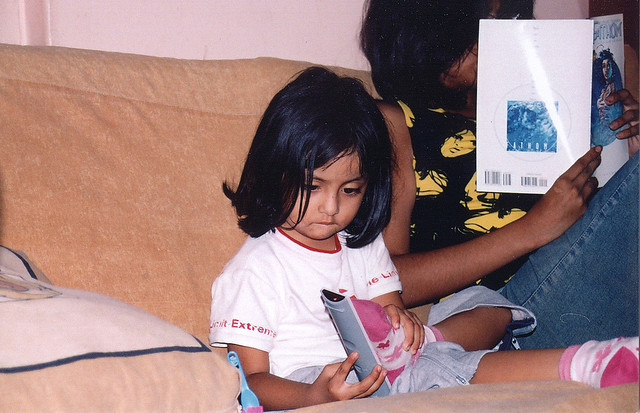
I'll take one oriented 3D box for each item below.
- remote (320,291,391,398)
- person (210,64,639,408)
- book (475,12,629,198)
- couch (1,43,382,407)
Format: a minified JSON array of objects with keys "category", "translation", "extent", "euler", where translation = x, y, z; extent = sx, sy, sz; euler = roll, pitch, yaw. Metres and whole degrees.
[{"category":"remote","translation":[0.065,0.271,1.473],"extent":[0.111,0.195,0.047],"euler":[-2,5,12]},{"category":"person","translation":[0.177,0.022,1.722],"extent":[1.025,0.724,0.601],"euler":[0,10,18]},{"category":"book","translation":[0.538,-0.238,1.798],"extent":[0.496,0.421,0.104],"euler":[-2,4,-5]},{"category":"couch","translation":[-0.375,0.009,1.490],"extent":[1.079,0.646,0.340],"euler":[-4,13,-32]}]
